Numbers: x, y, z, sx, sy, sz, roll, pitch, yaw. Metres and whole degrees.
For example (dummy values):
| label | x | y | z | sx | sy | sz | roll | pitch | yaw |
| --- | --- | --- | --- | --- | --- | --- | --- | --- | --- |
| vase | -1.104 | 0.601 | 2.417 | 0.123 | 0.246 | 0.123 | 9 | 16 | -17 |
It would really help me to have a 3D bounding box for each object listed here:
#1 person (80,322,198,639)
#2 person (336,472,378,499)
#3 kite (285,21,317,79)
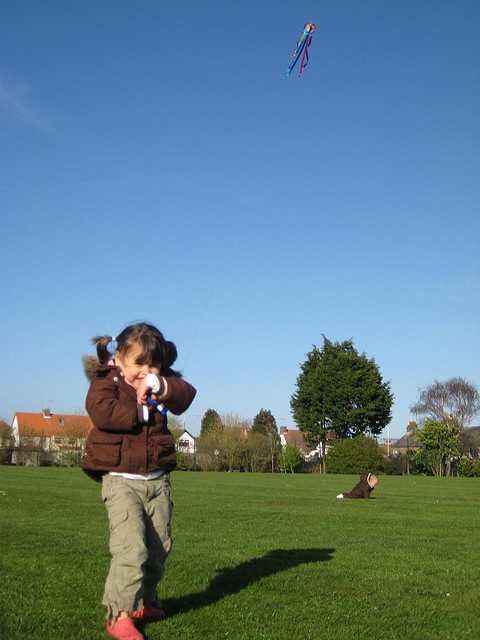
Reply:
| label | x | y | z | sx | sy | sz | roll | pitch | yaw |
| --- | --- | --- | --- | --- | --- | --- | --- | --- | --- |
| person | -0.594 | 0.862 | 3.931 | 0.623 | 1.750 | 0.722 | 4 | -10 | -15 |
| person | 2.588 | 3.602 | 14.661 | 0.535 | 0.511 | 1.081 | -8 | -16 | 38 |
| kite | 0.765 | -3.332 | 8.356 | 0.213 | 0.106 | 0.853 | 0 | -26 | -7 |
